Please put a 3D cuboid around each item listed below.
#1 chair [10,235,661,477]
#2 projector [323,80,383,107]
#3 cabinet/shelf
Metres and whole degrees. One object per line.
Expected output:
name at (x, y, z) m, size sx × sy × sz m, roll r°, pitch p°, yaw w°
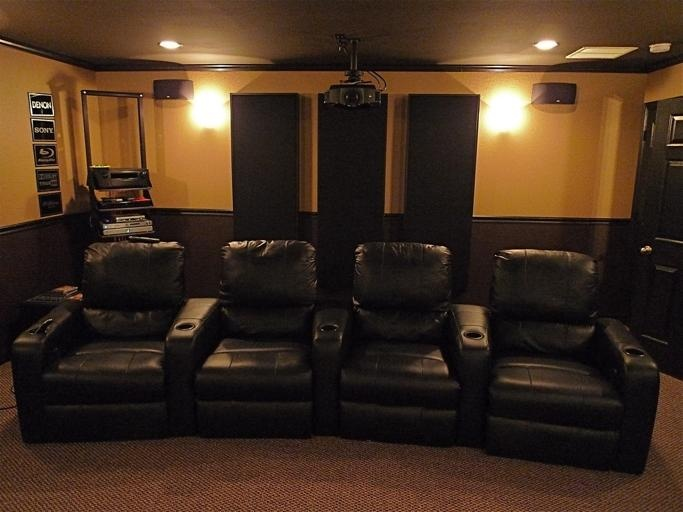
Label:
chair at (-0.016, 0.713, 4.476) m, size 4.502 × 1.461 × 0.943 m, roll 1°, pitch 13°, yaw 3°
projector at (0.101, -1.514, 5.393) m, size 0.511 × 0.213 × 0.549 m, roll 0°, pitch 11°, yaw -1°
cabinet/shelf at (-2.399, -0.579, 6.222) m, size 0.652 × 0.658 × 0.394 m, roll -9°, pitch 19°, yaw -43°
